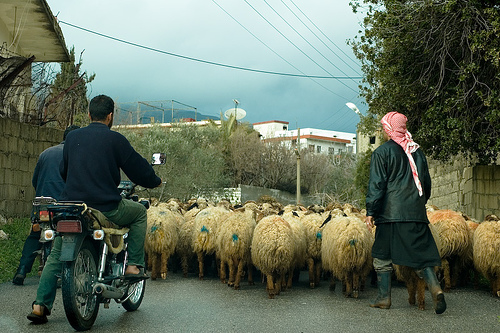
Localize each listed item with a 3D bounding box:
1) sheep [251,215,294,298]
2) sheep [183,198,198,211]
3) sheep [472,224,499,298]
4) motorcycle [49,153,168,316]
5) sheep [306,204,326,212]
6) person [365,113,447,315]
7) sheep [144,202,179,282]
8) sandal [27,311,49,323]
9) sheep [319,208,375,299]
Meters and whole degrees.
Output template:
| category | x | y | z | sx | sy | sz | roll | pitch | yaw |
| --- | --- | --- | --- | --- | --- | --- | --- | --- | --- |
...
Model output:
| category | x | y | z | sx | sy | sz | roll | pitch | yaw |
| --- | --- | --- | --- | --- | --- | --- | --- | --- | --- |
| sheep | 0.552 | 1.873 | 11.979 | 0.950 | 1.652 | 2.288 | 1 | -1 | 5 |
| sheep | -1.673 | 1.051 | 15.490 | 0.259 | 0.347 | 0.849 | -1 | 9 | -1 |
| sheep | 4.658 | 1.839 | 10.908 | 0.528 | 1.371 | 0.292 | 5 | 6 | 35 |
| motorcycle | -2.471 | 1.539 | 8.947 | 0.761 | 2.018 | 1.376 | 6 | 7 | 43 |
| sheep | 1.768 | 1.129 | 14.957 | 0.522 | 0.259 | 0.197 | 4 | -7 | -16 |
| person | 2.780 | 0.782 | 10.040 | 1.301 | 3.502 | 1.098 | 3 | 5 | 18 |
| sheep | -2.143 | 1.807 | 13.380 | 0.909 | 1.664 | 2.466 | 0 | -4 | -5 |
| sandal | -3.345 | 2.403 | 8.743 | 0.116 | 0.138 | 0.331 | 1 | -8 | 11 |
| sheep | 2.015 | 1.813 | 11.883 | 1.017 | 1.749 | 2.615 | 0 | -6 | -1 |
